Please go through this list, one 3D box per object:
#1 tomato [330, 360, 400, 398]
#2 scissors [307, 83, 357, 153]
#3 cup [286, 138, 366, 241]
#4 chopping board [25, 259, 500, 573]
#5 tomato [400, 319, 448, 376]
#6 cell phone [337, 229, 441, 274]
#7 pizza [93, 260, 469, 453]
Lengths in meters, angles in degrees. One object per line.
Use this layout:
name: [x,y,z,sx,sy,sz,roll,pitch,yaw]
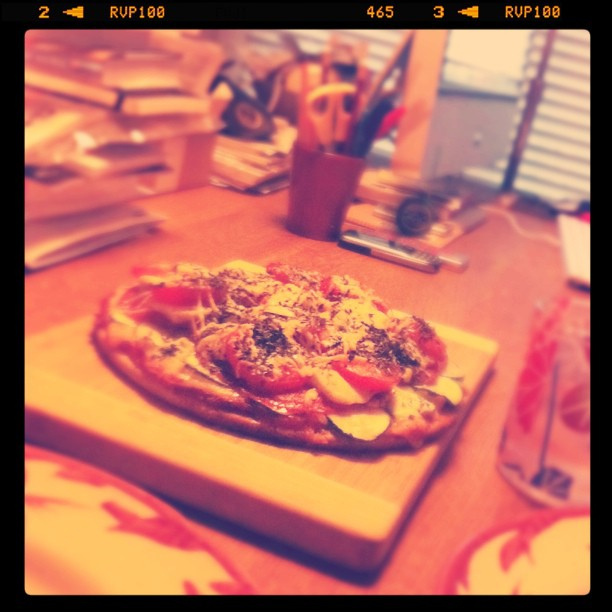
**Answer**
tomato: [0.055,0.076,0.655,0.063,0.020,0.058,14,1,30]
scissors: [0.035,-0.214,0.787,0.065,0.107,0.012,1,-3,22]
cup: [0.023,-0.146,0.862,0.111,0.106,0.115,11,1,0]
chopping board: [-0.093,0.114,0.604,0.302,0.036,0.286,20,39,21]
tomato: [0.136,0.052,0.741,0.064,0.018,0.049,53,42,-1]
cell phone: [0.105,-0.067,0.798,0.109,0.013,0.053,16,15,10]
pizza: [-0.020,0.050,0.659,0.300,0.061,0.237,14,16,14]
